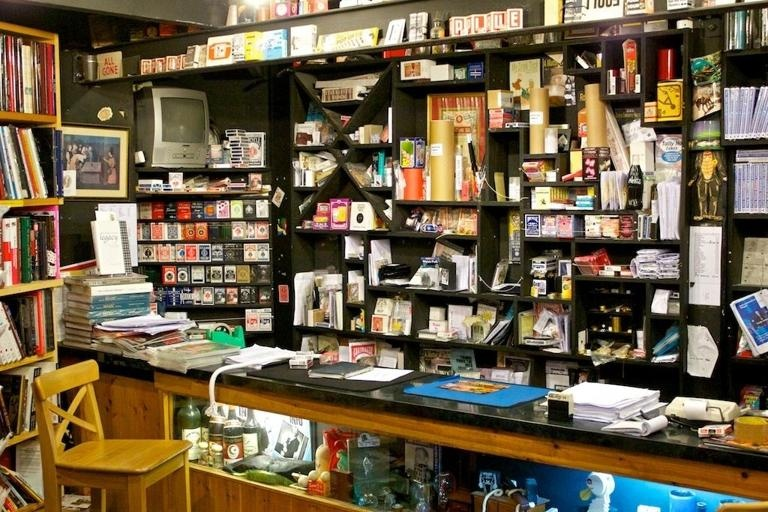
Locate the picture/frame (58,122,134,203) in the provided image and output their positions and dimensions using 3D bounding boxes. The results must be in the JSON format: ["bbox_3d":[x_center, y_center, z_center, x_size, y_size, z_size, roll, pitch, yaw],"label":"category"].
[{"bbox_3d":[-2.762,-0.882,6.314,0.040,0.832,0.919,-4,-3,43],"label":"picture/frame"}]

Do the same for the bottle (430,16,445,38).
[{"bbox_3d":[0.399,-1.704,4.950,0.131,0.149,0.108,-2,5,-12],"label":"bottle"}]

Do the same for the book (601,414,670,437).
[{"bbox_3d":[1.283,0.845,3.379,0.363,0.069,0.179,-4,6,-24],"label":"book"}]

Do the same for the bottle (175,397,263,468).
[{"bbox_3d":[-1.056,1.155,4.344,0.520,0.468,0.179,3,7,26],"label":"bottle"}]

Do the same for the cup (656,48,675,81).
[{"bbox_3d":[2.151,-1.468,5.108,0.140,0.245,0.101,1,5,22],"label":"cup"}]

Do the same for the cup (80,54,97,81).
[{"bbox_3d":[-2.870,-1.831,6.471,0.144,0.258,0.080,-3,5,-19],"label":"cup"}]
